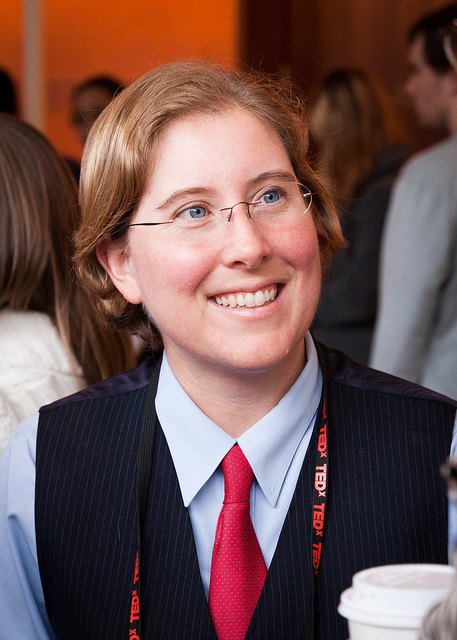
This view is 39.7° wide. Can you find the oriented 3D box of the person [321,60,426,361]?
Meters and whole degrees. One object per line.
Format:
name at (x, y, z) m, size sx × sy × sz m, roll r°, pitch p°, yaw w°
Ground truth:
person at (0.471, -0.258, 2.184) m, size 0.376 × 1.345 × 0.354 m, roll -7°, pitch 52°, yaw 9°
